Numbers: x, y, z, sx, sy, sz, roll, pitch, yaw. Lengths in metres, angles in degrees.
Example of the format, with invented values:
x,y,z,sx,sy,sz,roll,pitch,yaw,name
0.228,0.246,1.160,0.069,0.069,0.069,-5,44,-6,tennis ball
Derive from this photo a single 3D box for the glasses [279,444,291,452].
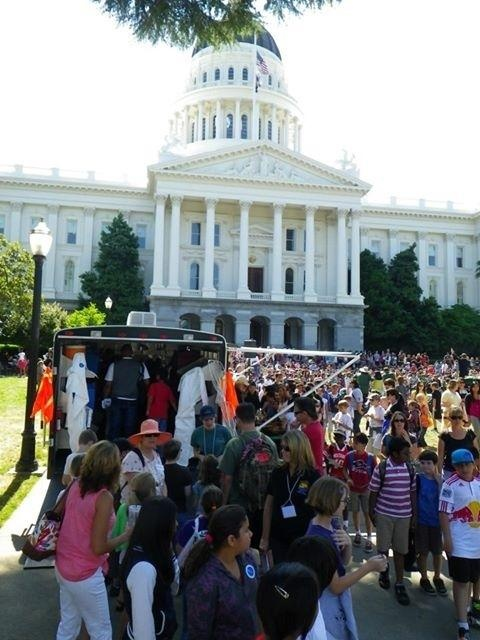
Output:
x,y,z,sx,sy,sz,roll,pitch,yaw,name
0.381,1.085,4.782,0.032,0.068,0.117,4,-4,-21,glasses

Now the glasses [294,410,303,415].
x,y,z,sx,sy,sz,roll,pitch,yaw,name
0.593,0.958,5.818,0.056,0.018,0.057,4,-27,12,glasses

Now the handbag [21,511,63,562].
x,y,z,sx,sy,sz,roll,pitch,yaw,name
-1.392,1.529,4.013,0.252,0.310,0.211,4,-4,-18,handbag

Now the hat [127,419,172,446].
x,y,z,sx,sy,sz,roll,pitch,yaw,name
-0.997,1.219,6.084,0.425,0.211,0.425,-21,-31,37,hat

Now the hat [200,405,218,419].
x,y,z,sx,sy,sz,roll,pitch,yaw,name
-0.413,1.155,7.145,0.197,0.094,0.266,0,-7,-5,hat

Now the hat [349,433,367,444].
x,y,z,sx,sy,sz,roll,pitch,yaw,name
1.520,1.536,7.246,0.156,0.142,0.128,1,5,24,hat

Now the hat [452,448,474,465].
x,y,z,sx,sy,sz,roll,pitch,yaw,name
1.957,1.213,5.044,0.137,0.091,0.181,-8,-12,13,hat

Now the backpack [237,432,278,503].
x,y,z,sx,sy,sz,roll,pitch,yaw,name
0.176,1.495,5.493,0.369,0.667,0.212,3,-4,-8,backpack

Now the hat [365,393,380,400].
x,y,z,sx,sy,sz,roll,pitch,yaw,name
2.633,1.528,11.188,0.192,0.095,0.135,9,-7,-8,hat
